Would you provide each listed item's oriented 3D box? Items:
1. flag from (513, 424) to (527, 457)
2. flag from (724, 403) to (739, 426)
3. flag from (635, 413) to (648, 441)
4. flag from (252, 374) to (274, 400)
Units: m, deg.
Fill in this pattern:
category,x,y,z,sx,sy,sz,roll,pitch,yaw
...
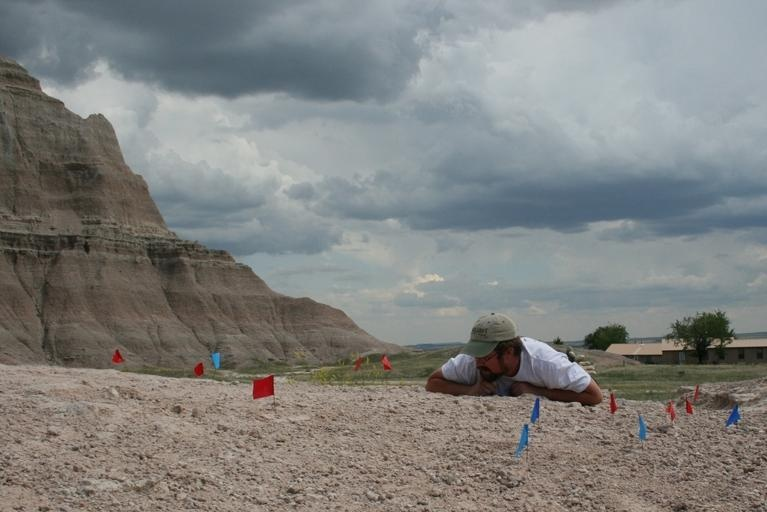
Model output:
category,x,y,z,sx,sy,sz,roll,pitch,yaw
flag,4.492,5.896,30.158,0.503,1.044,0.988,-2,-4,7
flag,11.824,5.296,31.437,0.420,0.682,0.945,-3,-5,20
flag,8.523,5.610,30.703,0.310,0.248,0.835,-5,-32,18
flag,-4.055,4.380,31.394,0.715,0.786,0.822,-1,-4,-9
